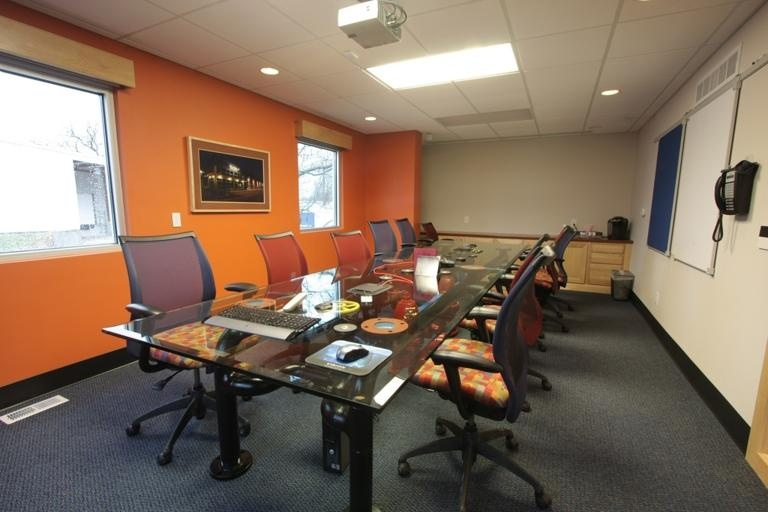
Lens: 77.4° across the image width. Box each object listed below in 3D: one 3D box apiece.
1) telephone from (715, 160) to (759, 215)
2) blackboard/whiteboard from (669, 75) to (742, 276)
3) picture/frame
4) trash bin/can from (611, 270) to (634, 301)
[{"bbox_3d":[2.823,-0.535,3.820,0.235,0.447,0.451,0,6,14],"label":"telephone"},{"bbox_3d":[2.946,-0.712,4.373,0.136,2.054,1.574,3,16,22],"label":"blackboard/whiteboard"},{"bbox_3d":[-1.754,-0.904,5.290,0.033,0.673,0.956,3,6,32],"label":"picture/frame"},{"bbox_3d":[3.246,0.405,6.511,0.322,0.398,0.287,10,17,40],"label":"trash bin/can"}]
